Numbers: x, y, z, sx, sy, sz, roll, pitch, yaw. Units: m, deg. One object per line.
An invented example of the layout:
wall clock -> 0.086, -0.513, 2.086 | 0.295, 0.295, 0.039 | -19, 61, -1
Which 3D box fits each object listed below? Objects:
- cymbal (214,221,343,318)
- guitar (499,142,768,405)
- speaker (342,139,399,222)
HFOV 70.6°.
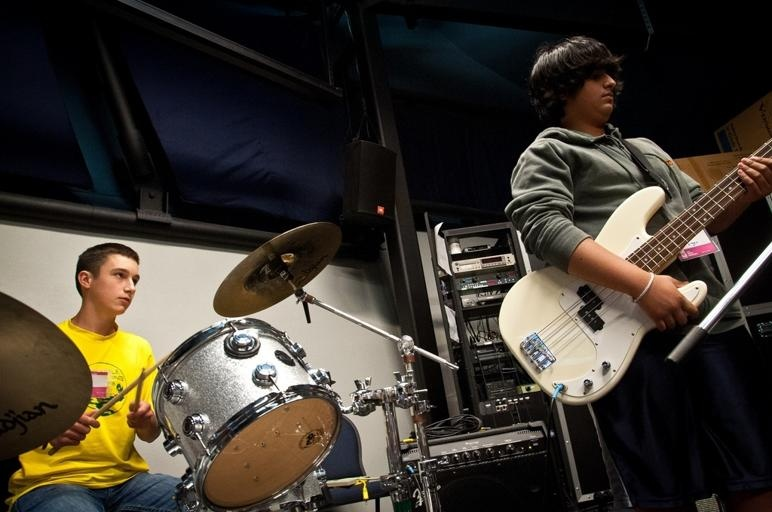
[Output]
cymbal -> -0.558, 0.062, 2.809 | 0.723, 0.166, 0.734 | -32, -16, 27
guitar -> 1.145, 0.072, 2.546 | 1.655, 0.531, 0.205 | -38, -10, -8
speaker -> -0.139, -0.605, 4.287 | 0.418, 0.653, 0.264 | 1, 4, -44
